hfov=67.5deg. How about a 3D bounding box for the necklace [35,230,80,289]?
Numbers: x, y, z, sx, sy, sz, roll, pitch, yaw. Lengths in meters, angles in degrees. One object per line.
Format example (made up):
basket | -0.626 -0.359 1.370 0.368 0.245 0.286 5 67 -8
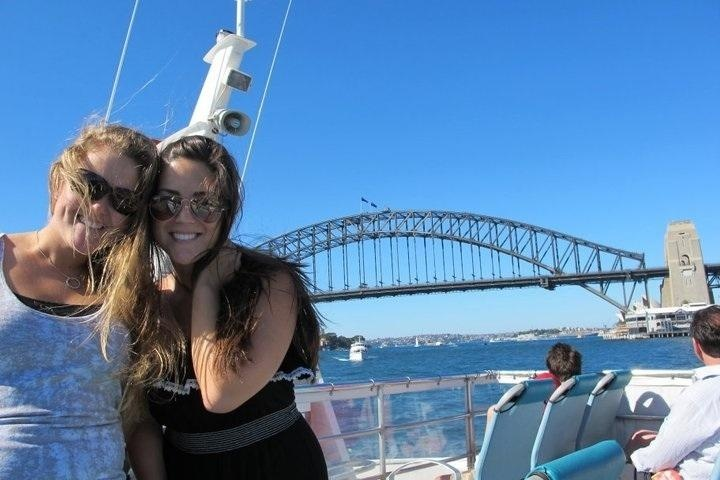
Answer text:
necklace | -0.923 0.053 1.629 0.102 0.182 0.033 -26 10 -30

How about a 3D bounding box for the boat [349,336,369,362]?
boat | -0.258 15.005 73.911 1.861 3.065 5.180 0 -10 3
